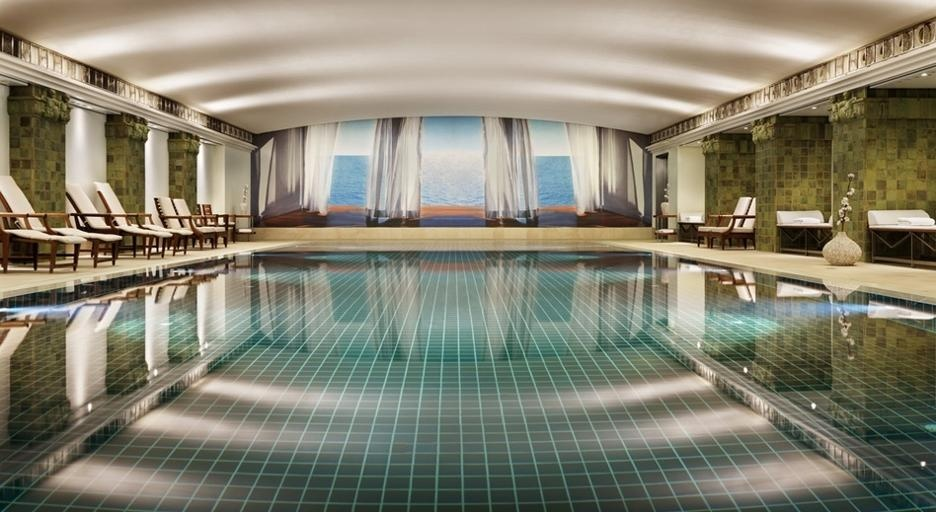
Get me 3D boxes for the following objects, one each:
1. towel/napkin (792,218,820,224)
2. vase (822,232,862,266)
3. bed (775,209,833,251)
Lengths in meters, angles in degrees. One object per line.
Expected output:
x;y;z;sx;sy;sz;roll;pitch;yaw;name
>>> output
8.713;-0.937;12.972;0.460;0.128;0.569;-8;10;-44;towel/napkin
7.447;-0.168;10.197;0.859;0.576;0.742;0;1;-4;vase
8.842;-0.691;13.023;1.407;0.765;1.215;-1;1;-4;bed
